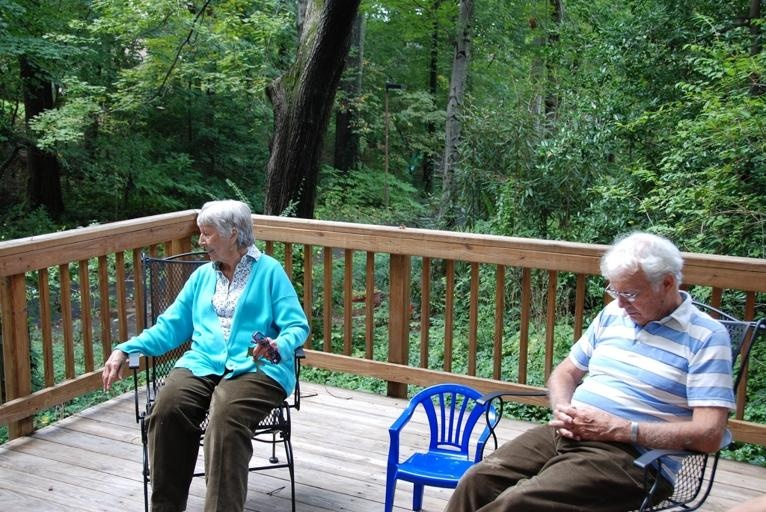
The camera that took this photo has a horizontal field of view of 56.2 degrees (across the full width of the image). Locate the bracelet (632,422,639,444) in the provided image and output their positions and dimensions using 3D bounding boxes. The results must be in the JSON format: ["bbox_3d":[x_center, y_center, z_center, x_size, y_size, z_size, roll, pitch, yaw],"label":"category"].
[{"bbox_3d":[1.402,0.984,3.986,0.029,0.100,0.099,4,-9,19],"label":"bracelet"}]

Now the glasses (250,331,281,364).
[{"bbox_3d":[-0.727,0.579,4.472,0.229,0.066,0.132,47,-31,-17],"label":"glasses"}]
